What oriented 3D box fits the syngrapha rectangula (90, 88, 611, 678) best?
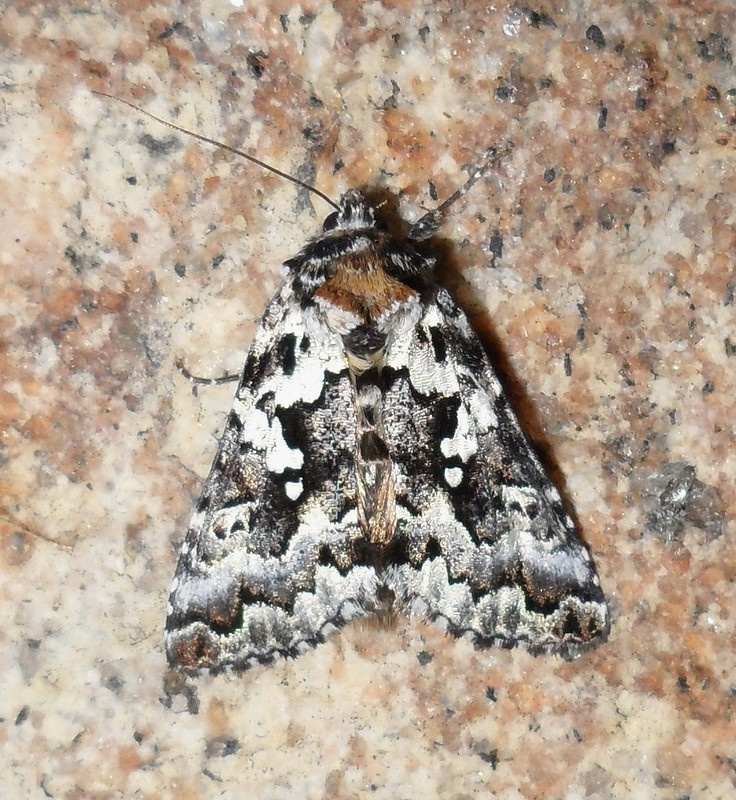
[{"bbox_3d":[0.013,-0.115,4.134,1.639,0.579,1.850,-3,102,7],"label":"syngrapha rectangula"}]
